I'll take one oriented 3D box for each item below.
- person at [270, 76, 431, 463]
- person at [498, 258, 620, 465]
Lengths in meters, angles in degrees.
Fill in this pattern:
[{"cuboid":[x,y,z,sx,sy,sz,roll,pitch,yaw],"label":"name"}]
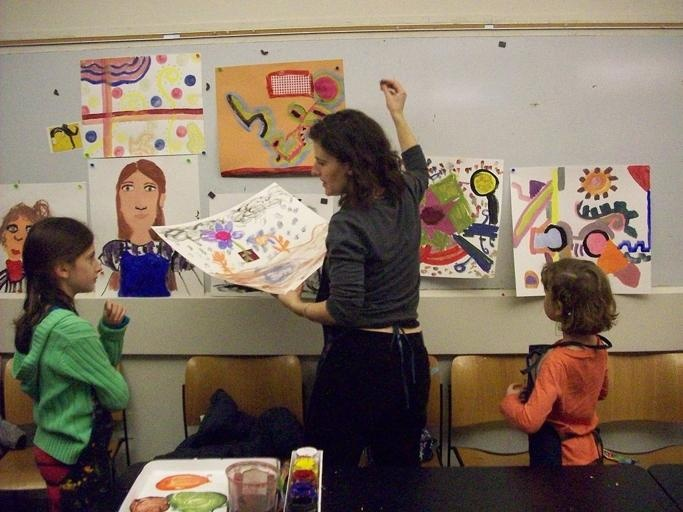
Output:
[{"cuboid":[0.062,0.128,2.344,0.581,1.354,0.329,-2,2,-9],"label":"person"},{"cuboid":[0.779,0.385,2.287,0.406,0.745,0.225,-1,2,11],"label":"person"}]
